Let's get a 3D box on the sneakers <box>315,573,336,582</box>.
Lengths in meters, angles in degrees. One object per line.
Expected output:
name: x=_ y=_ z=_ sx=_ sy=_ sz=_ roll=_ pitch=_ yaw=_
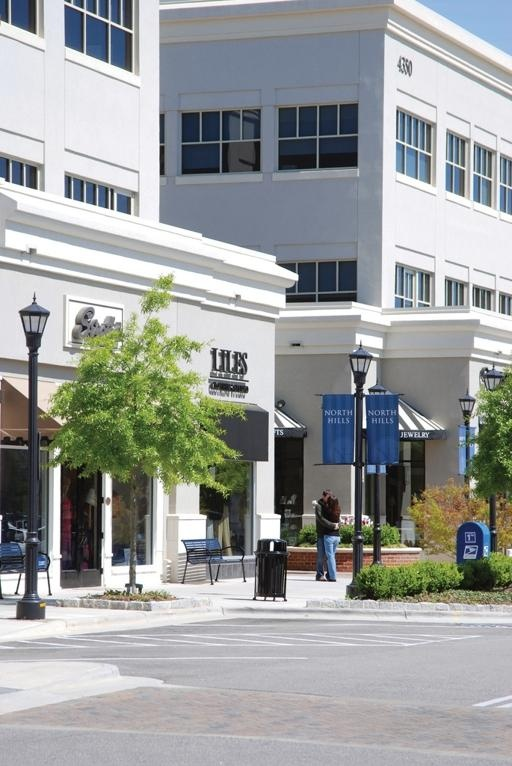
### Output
sneakers: x=1.295 y=3.608 z=31.479 sx=0.369 sy=0.207 sz=0.138 roll=-7 pitch=-9 yaw=28

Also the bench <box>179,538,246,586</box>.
bench: x=-0.760 y=3.288 z=30.951 sx=0.812 sy=0.845 sz=3.199 roll=-1 pitch=-9 yaw=7

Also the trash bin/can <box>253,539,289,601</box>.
trash bin/can: x=0.242 y=2.931 z=26.483 sx=0.520 sy=1.054 sz=0.586 roll=2 pitch=-1 yaw=-16

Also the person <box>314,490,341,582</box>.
person: x=1.299 y=2.854 z=31.217 sx=0.423 sy=1.601 sz=1.207 roll=0 pitch=-7 yaw=3

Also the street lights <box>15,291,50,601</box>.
street lights: x=-2.912 y=0.995 z=22.326 sx=0.384 sy=4.198 sz=0.723 roll=1 pitch=-6 yaw=-9

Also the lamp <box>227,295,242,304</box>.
lamp: x=-0.399 y=-1.567 z=32.522 sx=0.173 sy=0.226 sz=0.178 roll=4 pitch=2 yaw=45

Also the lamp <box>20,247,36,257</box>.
lamp: x=-3.479 y=-1.984 z=26.090 sx=0.190 sy=0.185 sz=0.121 roll=11 pitch=13 yaw=29
